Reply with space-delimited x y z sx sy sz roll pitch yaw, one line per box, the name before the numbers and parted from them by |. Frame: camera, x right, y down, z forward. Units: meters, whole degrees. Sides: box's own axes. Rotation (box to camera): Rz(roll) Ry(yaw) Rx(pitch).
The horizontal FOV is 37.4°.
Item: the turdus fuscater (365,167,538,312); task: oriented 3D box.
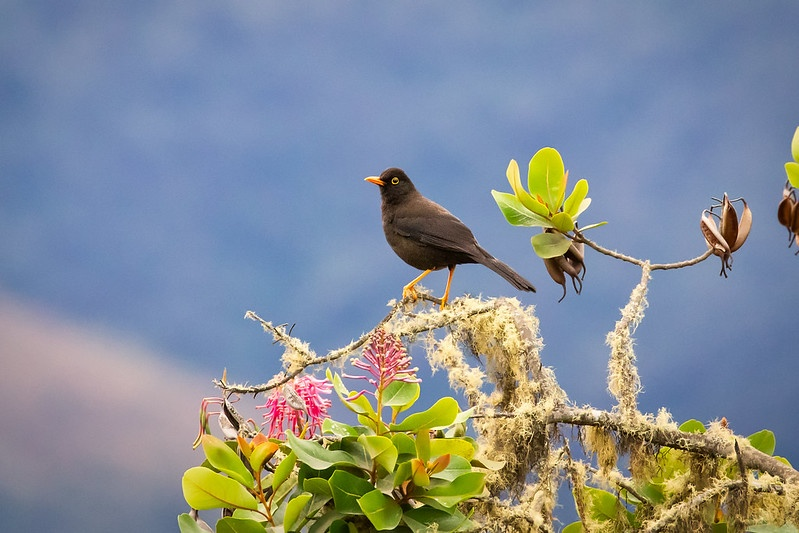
turdus fuscater | 0.214 -0.114 5.529 0.753 0.670 0.277 2 -4 13
